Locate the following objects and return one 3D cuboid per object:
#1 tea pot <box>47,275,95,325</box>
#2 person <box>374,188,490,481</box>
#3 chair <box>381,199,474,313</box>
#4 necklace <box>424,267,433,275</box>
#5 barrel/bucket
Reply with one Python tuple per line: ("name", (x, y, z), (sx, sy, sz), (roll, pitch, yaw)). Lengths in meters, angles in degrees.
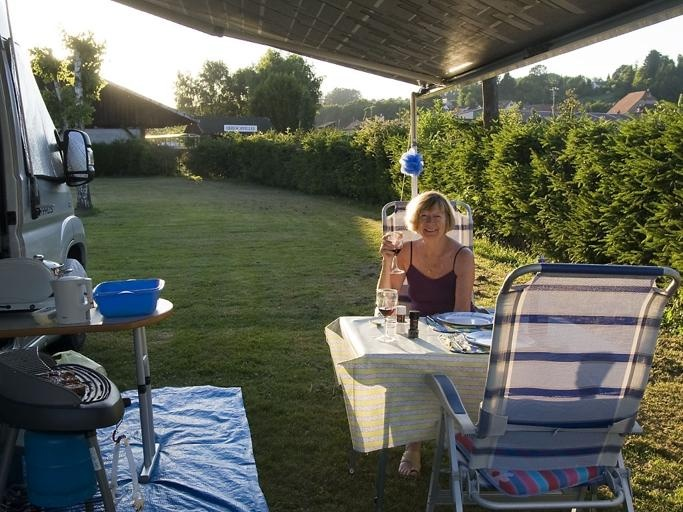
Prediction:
("tea pot", (-1.554, 0.254, 3.505), (0.310, 0.315, 0.183), (1, 1, 2))
("person", (0.655, 0.446, 4.867), (0.869, 1.867, 0.807), (5, 12, 9))
("chair", (0.694, -0.034, 4.701), (0.696, 0.887, 0.643), (8, 11, 17))
("necklace", (0.661, 0.116, 4.607), (0.053, 0.053, 0.013), (8, 10, 31))
("barrel/bucket", (-1.453, 1.087, 3.348), (0.426, 0.357, 0.559), (-3, 11, -22))
